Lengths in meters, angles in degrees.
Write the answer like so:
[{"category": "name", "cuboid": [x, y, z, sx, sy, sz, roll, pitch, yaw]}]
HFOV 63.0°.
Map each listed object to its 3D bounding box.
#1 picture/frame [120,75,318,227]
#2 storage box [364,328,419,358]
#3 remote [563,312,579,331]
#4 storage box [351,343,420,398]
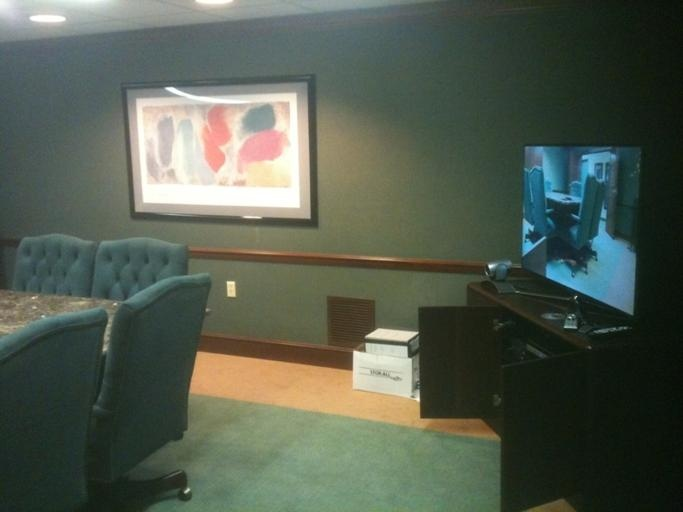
[{"category": "picture/frame", "cuboid": [-0.852, -0.729, 3.874, 1.525, 0.967, 0.014, 4, 9, 21]}, {"category": "storage box", "cuboid": [0.315, 0.518, 3.400, 0.309, 0.120, 0.235, 3, 14, 15]}, {"category": "remote", "cuboid": [1.023, 0.289, 2.473, 0.047, 0.027, 0.087, 2, 31, 20]}, {"category": "storage box", "cuboid": [0.252, 0.712, 3.352, 0.443, 0.291, 0.246, 5, 12, 28]}]
